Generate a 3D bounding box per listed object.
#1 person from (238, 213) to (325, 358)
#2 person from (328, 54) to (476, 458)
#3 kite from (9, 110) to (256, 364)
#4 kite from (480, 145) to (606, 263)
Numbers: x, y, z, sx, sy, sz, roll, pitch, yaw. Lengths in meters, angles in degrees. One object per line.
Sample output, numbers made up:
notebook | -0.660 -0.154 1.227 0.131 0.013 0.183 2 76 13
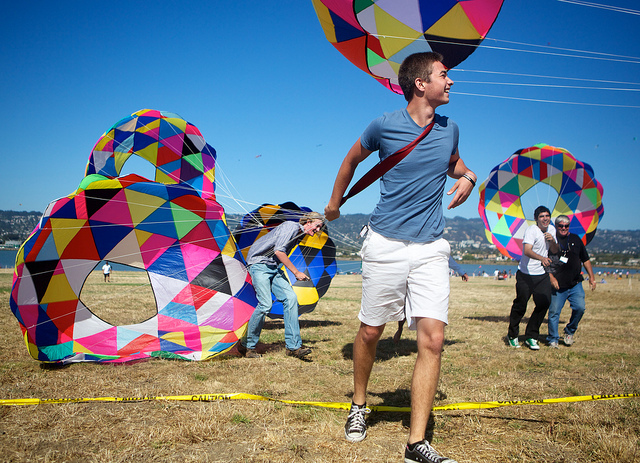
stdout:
person | -0.631 0.788 7.583 1.080 2.197 0.824 4 4 -1
person | 0.791 0.157 4.705 1.152 3.708 0.770 6 4 18
kite | -2.938 -0.130 8.616 3.087 4.041 3.887 3 4 -16
kite | 5.779 -0.593 12.034 1.771 1.722 1.868 2 11 -1
